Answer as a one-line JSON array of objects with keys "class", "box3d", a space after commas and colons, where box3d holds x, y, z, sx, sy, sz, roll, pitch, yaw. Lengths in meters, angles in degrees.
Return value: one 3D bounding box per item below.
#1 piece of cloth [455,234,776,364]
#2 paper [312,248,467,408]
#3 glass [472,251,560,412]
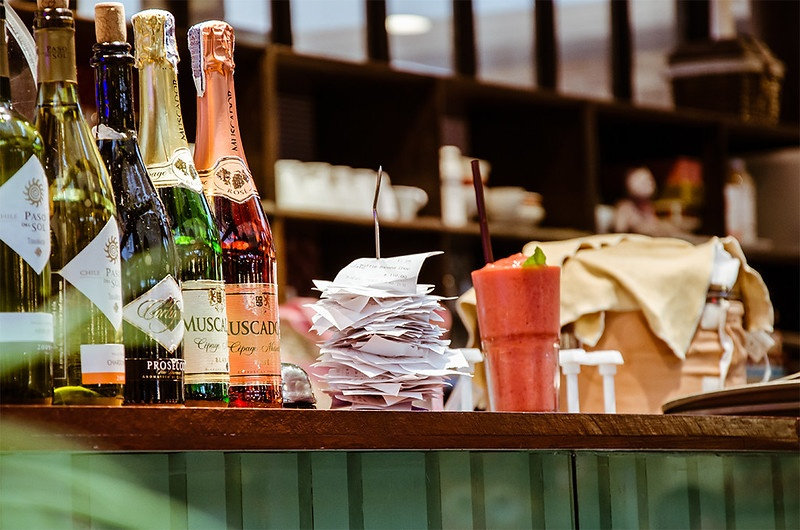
[{"class": "piece of cloth", "box3d": [0.399, 0.035, 2.259, 0.296, 0.140, 0.289, 1, -4, -38]}, {"class": "paper", "box3d": [-0.008, 0.089, 1.771, 0.192, 0.186, 0.186, 0, -9, 2]}, {"class": "glass", "box3d": [0.145, 0.083, 1.740, 0.106, 0.195, 0.069, -1, -9, 2]}]
